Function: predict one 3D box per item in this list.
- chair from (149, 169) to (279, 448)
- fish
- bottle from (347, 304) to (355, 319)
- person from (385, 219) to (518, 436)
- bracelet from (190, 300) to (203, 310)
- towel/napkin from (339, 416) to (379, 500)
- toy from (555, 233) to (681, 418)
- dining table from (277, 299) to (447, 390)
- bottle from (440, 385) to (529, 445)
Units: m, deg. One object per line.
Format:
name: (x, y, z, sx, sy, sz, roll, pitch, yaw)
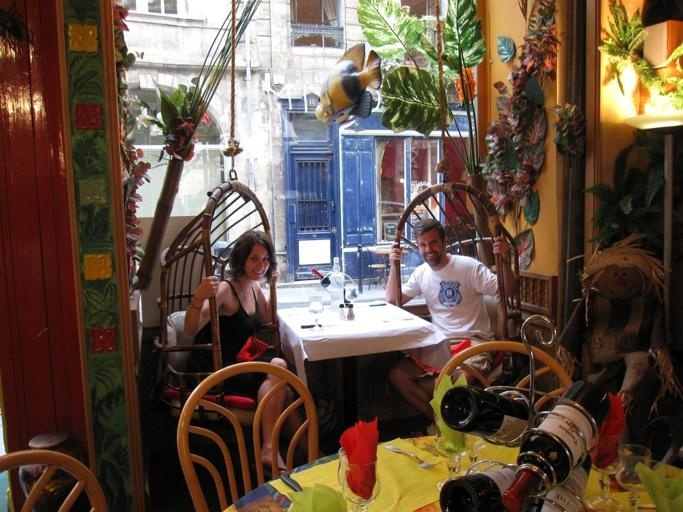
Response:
chair: (-0.675, 0.290, 3.502, 0.808, 1.432, 0.792, -5, 3, -40)
fish: (0.028, -0.998, 3.379, 0.372, 0.413, 0.297, -3, 4, -1)
bottle: (0.051, 0.351, 3.668, 0.063, 0.101, 0.068, 0, 4, 0)
person: (0.708, 0.394, 3.699, 0.774, 1.425, 0.769, -6, -10, 10)
bracelet: (-0.806, 0.275, 3.218, 0.057, 0.053, 0.080, -5, 4, -26)
towel/napkin: (0.055, 0.637, 1.813, 0.114, 0.252, 0.117, -2, 4, 0)
toy: (1.463, 0.338, 3.047, 0.501, 0.874, 0.407, -3, 4, -9)
dining table: (0.092, 0.459, 3.442, 0.599, 0.204, 0.632, -7, 15, -22)
bottle: (0.465, 0.477, 1.747, 0.132, 0.145, 0.429, -11, -23, 39)
